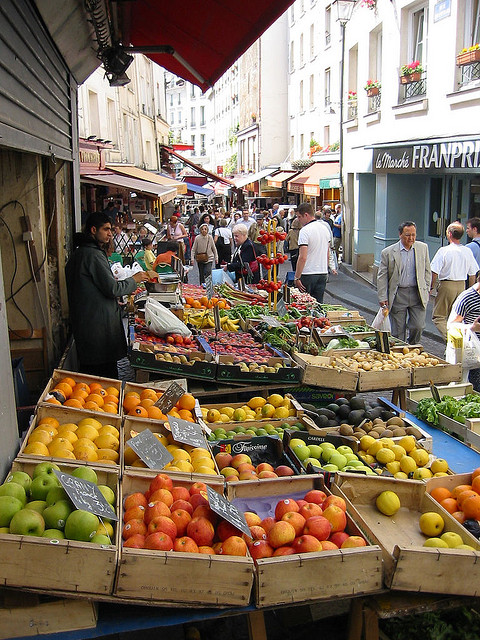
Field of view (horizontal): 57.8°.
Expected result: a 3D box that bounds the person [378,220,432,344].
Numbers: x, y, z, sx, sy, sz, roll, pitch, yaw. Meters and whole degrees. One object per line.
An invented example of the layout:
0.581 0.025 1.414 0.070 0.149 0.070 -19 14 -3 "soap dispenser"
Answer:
2.714 -0.583 7.165 0.893 2.003 0.426 -2 11 -15 "person"

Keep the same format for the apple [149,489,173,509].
-0.387 0.857 2.117 0.069 0.088 0.070 6 18 -33 "apple"

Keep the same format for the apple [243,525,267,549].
0.072 0.986 1.995 0.087 0.085 0.104 16 4 6 "apple"

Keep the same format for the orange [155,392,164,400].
-0.719 0.669 3.832 0.059 0.060 0.060 3 0 -5 "orange"

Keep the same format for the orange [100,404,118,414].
-1.033 0.694 3.421 0.081 0.047 0.083 14 4 -8 "orange"

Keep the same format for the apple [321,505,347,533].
0.461 0.958 2.109 0.104 0.128 0.105 -13 -15 -20 "apple"

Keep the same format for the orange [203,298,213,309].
-0.569 -0.302 7.610 0.141 0.140 0.231 -3 12 -20 "orange"

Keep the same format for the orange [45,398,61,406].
-1.392 0.604 3.226 0.057 0.052 0.059 -1 10 -9 "orange"

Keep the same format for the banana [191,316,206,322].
-0.647 -0.017 6.799 0.244 0.093 0.049 -3 -34 38 "banana"

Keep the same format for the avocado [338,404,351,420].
0.973 0.857 4.067 0.112 0.140 0.115 0 0 -2 "avocado"

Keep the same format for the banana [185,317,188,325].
-0.837 0.008 6.707 0.044 0.058 0.163 -1 12 -10 "banana"

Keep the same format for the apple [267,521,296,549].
0.182 0.949 1.972 0.098 0.097 0.099 29 -4 -25 "apple"

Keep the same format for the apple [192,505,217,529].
-0.158 0.903 2.029 0.116 0.144 0.118 3 -17 6 "apple"

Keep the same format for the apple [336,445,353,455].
0.776 0.943 3.214 0.060 0.071 0.060 -14 21 -41 "apple"

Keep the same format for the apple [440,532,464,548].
1.036 1.060 2.122 0.059 0.061 0.060 10 6 6 "apple"

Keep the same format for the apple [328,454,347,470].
0.673 0.989 3.049 0.078 0.081 0.081 9 4 44 "apple"

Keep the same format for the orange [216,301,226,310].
-0.341 -0.283 7.543 0.132 0.153 0.136 -27 44 -3 "orange"

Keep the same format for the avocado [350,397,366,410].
1.133 0.786 4.201 0.132 0.081 0.232 6 12 19 "avocado"

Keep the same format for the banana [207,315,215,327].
-0.465 0.013 6.746 0.051 0.208 0.072 -7 -20 -41 "banana"

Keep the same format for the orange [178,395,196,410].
-0.465 0.725 3.805 0.121 0.146 0.124 4 -15 -2 "orange"

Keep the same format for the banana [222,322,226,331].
-0.255 0.104 6.703 0.032 0.094 0.025 3 -15 -26 "banana"

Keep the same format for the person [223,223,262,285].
0.095 -1.556 10.456 0.793 1.463 1.179 2 11 2 "person"

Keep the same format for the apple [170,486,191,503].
-0.301 0.879 2.196 0.061 0.074 0.062 -6 -34 -9 "apple"

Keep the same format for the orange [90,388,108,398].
-1.203 0.613 3.707 0.075 0.089 0.075 23 -8 28 "orange"

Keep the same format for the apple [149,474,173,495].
-0.415 0.846 2.271 0.085 0.110 0.087 7 4 -15 "apple"

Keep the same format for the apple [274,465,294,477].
0.273 0.955 2.718 0.110 0.049 0.125 1 12 -3 "apple"

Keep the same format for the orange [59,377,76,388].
-1.492 0.527 3.762 0.090 0.110 0.090 36 -6 -37 "orange"

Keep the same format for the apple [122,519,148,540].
-0.464 0.918 1.928 0.076 0.080 0.075 -20 -18 22 "apple"

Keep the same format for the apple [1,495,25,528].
-0.884 0.741 1.686 0.081 0.100 0.087 10 41 -8 "apple"

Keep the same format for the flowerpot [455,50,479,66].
5.361 -6.152 10.153 0.373 0.150 0.286 4 14 39 "flowerpot"

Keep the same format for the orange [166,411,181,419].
-0.539 0.752 3.501 0.082 0.047 0.069 23 0 36 "orange"

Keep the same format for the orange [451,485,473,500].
1.357 1.041 2.659 0.102 0.064 0.080 -8 2 32 "orange"

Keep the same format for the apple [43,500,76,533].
-0.713 0.762 1.727 0.095 0.097 0.094 -47 7 -27 "apple"

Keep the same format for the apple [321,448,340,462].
0.660 0.965 3.141 0.099 0.085 0.089 13 50 11 "apple"

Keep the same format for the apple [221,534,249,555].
-0.019 0.919 1.801 0.074 0.095 0.075 15 6 13 "apple"

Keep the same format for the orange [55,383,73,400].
-1.445 0.561 3.591 0.119 0.118 0.118 39 3 32 "orange"

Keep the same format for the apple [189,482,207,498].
-0.216 0.866 2.216 0.090 0.056 0.149 0 12 -6 "apple"

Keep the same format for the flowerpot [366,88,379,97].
5.016 -8.577 16.455 0.402 0.266 0.209 -1 -4 9 "flowerpot"

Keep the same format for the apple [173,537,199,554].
-0.211 0.882 1.730 0.071 0.073 0.072 11 16 -15 "apple"

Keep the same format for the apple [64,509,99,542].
-0.589 0.761 1.628 0.092 0.102 0.092 31 12 -33 "apple"

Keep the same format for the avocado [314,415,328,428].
0.720 0.895 3.895 0.123 0.085 0.122 5 12 16 "avocado"

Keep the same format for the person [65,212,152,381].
-1.692 -0.113 5.256 0.736 1.795 0.429 -3 12 -22 "person"

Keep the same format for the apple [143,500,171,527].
-0.381 0.879 1.978 0.095 0.120 0.097 9 -25 -28 "apple"

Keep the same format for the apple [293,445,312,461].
0.449 0.939 3.109 0.098 0.091 0.087 13 0 0 "apple"

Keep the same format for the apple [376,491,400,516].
0.854 1.059 2.510 0.099 0.083 0.085 49 27 15 "apple"
